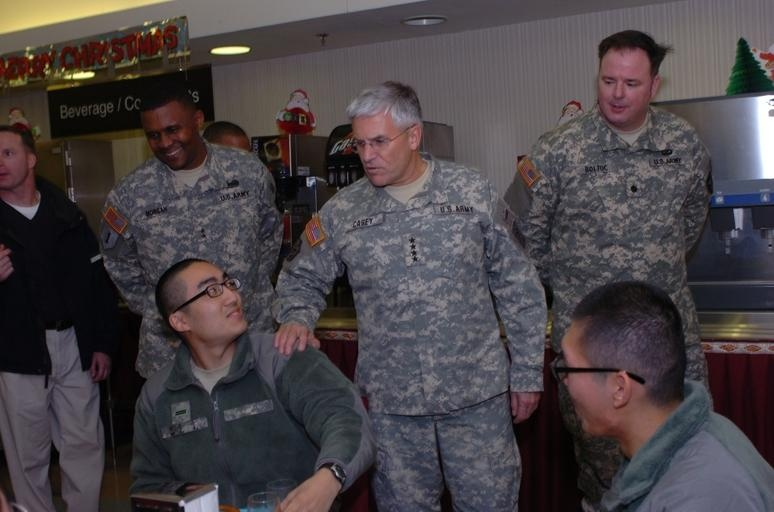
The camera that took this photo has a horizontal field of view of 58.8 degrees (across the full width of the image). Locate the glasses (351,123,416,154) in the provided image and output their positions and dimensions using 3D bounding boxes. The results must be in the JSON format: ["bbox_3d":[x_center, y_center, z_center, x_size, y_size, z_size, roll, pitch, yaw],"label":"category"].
[{"bbox_3d":[-0.013,-0.531,3.131,0.285,0.109,0.124,-2,9,2],"label":"glasses"}]

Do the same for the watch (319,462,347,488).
[{"bbox_3d":[-0.191,0.798,2.517,0.034,0.087,0.084,-37,24,-24],"label":"watch"}]

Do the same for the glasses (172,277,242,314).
[{"bbox_3d":[-0.756,0.155,2.939,0.178,0.053,0.173,-28,5,5],"label":"glasses"}]
